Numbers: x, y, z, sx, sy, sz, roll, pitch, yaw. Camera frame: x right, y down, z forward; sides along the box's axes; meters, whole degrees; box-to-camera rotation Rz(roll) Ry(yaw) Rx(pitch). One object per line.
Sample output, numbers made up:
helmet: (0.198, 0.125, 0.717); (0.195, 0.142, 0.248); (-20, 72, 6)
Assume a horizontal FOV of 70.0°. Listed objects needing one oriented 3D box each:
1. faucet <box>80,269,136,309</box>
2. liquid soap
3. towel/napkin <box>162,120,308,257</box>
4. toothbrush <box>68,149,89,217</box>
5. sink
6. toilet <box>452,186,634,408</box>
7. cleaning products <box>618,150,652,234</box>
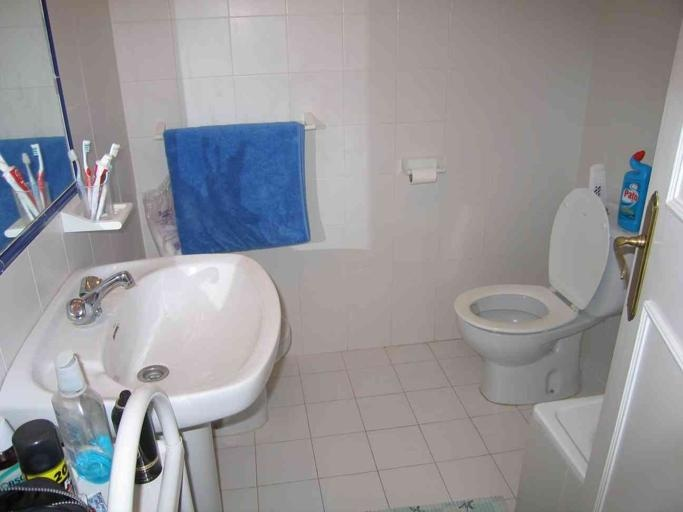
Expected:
faucet: (-0.592, 0.078, 1.260); (0.132, 0.049, 0.071); (-29, 46, 0)
liquid soap: (-0.492, 0.310, 0.923); (0.087, 0.233, 0.072); (15, 25, 36)
towel/napkin: (-0.426, -0.283, 2.001); (0.526, 0.570, 0.144); (-3, 21, -8)
toothbrush: (-0.753, -0.201, 1.394); (0.029, 0.225, 0.023); (-10, 11, -12)
sink: (-0.476, 0.194, 1.295); (0.430, 0.173, 0.629); (1, 25, -6)
toilet: (0.826, 0.182, 2.125); (0.642, 0.946, 0.352); (-4, 25, 1)
cleaning products: (1.091, -0.235, 1.816); (0.061, 0.289, 0.155); (0, 25, 9)
